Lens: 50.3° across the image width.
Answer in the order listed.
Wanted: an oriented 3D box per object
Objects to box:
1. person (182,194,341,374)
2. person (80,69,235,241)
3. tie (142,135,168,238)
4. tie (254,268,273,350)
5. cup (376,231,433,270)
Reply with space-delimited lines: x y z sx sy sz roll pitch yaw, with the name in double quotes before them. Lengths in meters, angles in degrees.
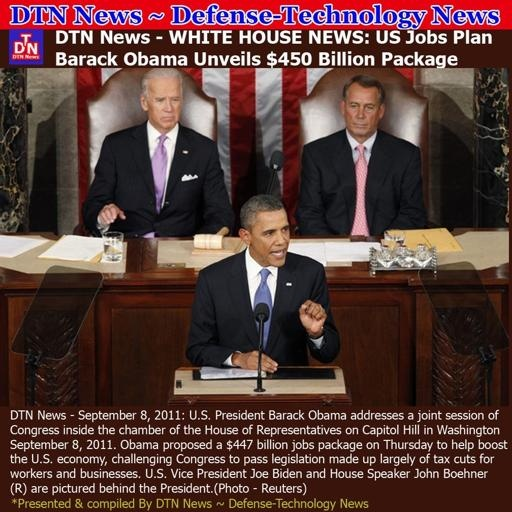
"person" 0.032 0.122 2.185 0.622 0.728 0.587 -2 7 -10
"person" -0.744 -0.780 4.112 1.110 1.269 0.502 -2 7 -6
"tie" -0.770 -0.547 4.270 0.149 0.796 0.128 5 -9 -2
"tie" 0.032 0.212 2.274 0.068 0.343 0.053 1 -9 0
"cup" 0.739 -0.051 2.811 0.231 0.094 0.246 -1 16 0
